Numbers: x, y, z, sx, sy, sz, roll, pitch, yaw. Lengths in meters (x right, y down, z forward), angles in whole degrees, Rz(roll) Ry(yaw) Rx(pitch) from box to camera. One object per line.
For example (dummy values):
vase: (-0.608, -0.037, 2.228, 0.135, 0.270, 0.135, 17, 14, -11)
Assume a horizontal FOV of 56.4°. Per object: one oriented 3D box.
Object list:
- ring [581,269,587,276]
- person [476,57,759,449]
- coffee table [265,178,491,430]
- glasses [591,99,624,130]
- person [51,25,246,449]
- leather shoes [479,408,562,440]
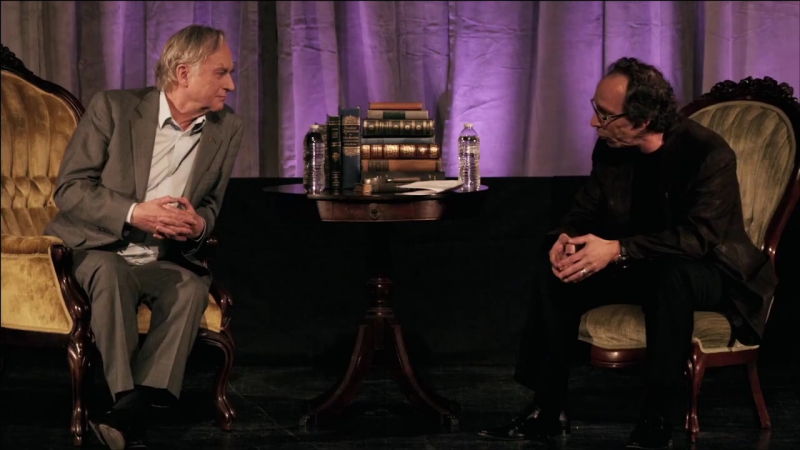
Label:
ring: (0.895, 0.229, 3.659, 0.031, 0.028, 0.008, 0, 6, -8)
person: (1.203, 0.146, 3.728, 1.182, 1.935, 0.531, 3, 7, 24)
coffee table: (-0.162, 0.443, 4.194, 1.257, 1.132, 1.318, -5, -6, 30)
glasses: (1.006, -0.545, 3.710, 0.161, 0.041, 0.143, 7, 19, -19)
person: (-1.294, 0.031, 3.827, 0.937, 2.125, 0.622, -2, 7, -23)
leather shoes: (0.625, 1.016, 3.839, 0.467, 0.140, 0.155, -1, -8, 5)
